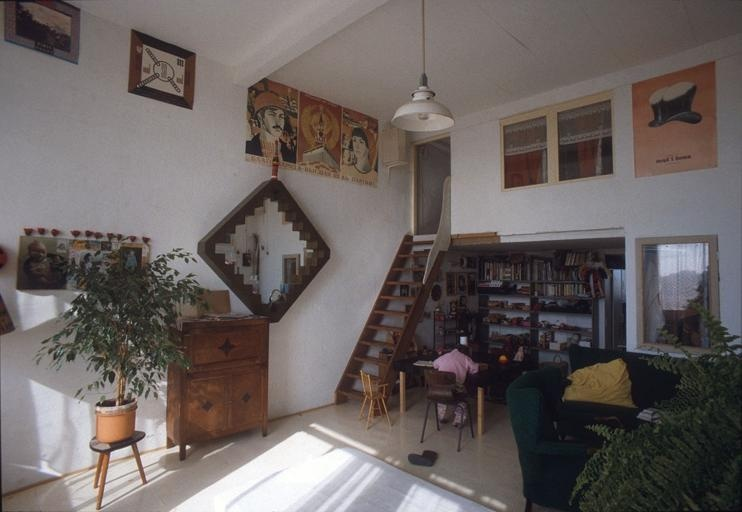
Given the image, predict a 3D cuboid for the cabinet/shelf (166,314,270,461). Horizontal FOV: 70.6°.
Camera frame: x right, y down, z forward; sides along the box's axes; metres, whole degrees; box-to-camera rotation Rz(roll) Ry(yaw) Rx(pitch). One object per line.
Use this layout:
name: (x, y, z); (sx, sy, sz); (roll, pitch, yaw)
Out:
cabinet/shelf: (-2.128, 1.797, 7.133); (0.888, 2.330, 1.749); (-5, -5, 44)

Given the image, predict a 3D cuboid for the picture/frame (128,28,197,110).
picture/frame: (-2.878, -2.598, 7.305); (0.843, 0.068, 0.887); (13, -47, -16)

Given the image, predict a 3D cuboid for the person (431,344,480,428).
person: (1.277, 1.927, 7.967); (0.522, 1.343, 0.421); (6, 11, 26)

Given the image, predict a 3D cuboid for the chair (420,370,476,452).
chair: (1.141, 2.197, 7.720); (0.646, 1.116, 0.653); (-1, 1, 39)

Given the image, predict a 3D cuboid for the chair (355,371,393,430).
chair: (0.063, 2.302, 8.427); (0.403, 0.807, 0.436); (-1, 3, -31)

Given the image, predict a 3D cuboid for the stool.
stool: (-3.046, 2.565, 6.465); (0.729, 0.909, 0.668); (-6, -7, 42)

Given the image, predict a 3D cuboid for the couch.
couch: (3.725, 1.806, 7.667); (1.389, 1.290, 0.444); (5, -22, 27)

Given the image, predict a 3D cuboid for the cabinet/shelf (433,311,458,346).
cabinet/shelf: (1.495, 1.538, 10.723); (0.254, 0.947, 0.490); (3, -11, -44)

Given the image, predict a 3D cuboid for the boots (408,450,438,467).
boots: (0.686, 2.683, 6.913); (0.273, 0.090, 0.166); (-2, 1, 6)

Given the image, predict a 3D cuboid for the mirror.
mirror: (4.337, 0.551, 7.488); (0.995, 1.866, 0.078); (0, 24, 33)

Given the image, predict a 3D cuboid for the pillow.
pillow: (3.168, 1.808, 7.317); (0.676, 0.662, 0.219); (-11, -54, 35)

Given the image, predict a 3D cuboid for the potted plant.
potted plant: (-3.018, 1.089, 6.579); (1.664, 2.217, 1.182); (-3, 9, -21)
